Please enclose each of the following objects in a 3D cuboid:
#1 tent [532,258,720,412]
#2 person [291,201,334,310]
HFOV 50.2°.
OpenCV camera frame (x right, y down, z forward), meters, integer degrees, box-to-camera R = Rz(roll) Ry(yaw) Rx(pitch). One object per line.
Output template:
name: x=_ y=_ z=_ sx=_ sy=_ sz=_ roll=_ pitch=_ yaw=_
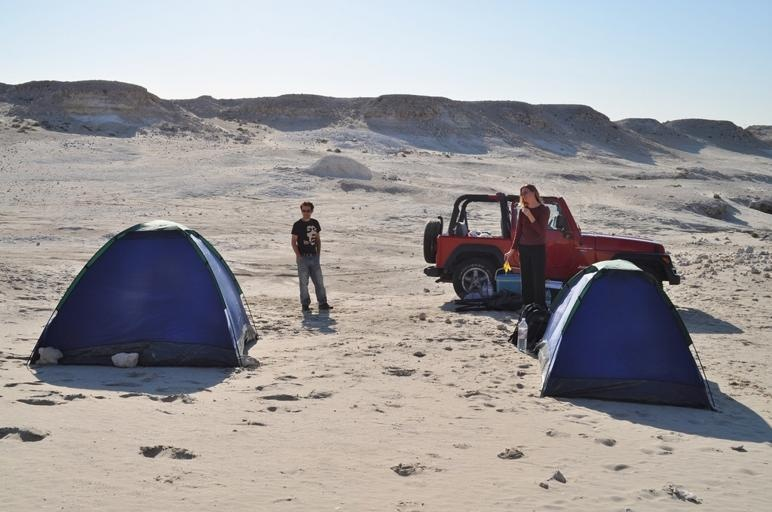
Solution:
tent: x=3.881 y=1.348 z=13.463 sx=2.441 sy=2.156 sz=0.916 roll=-1 pitch=17 yaw=7
person: x=-1.660 y=-0.033 z=17.845 sx=0.687 sy=2.462 sz=1.453 roll=-5 pitch=16 yaw=-5
